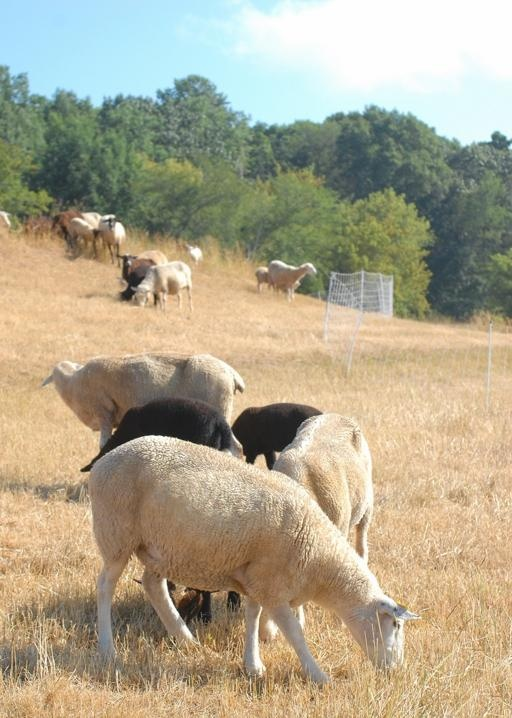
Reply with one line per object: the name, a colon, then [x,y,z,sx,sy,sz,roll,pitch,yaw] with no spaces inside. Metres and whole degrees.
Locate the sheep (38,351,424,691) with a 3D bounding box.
sheep: [-0.170,1.651,12.321,2.538,1.885,0.567,1,9,10]

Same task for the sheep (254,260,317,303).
sheep: [0.643,-1.928,35.613,1.039,0.940,2.032,-5,12,-20]

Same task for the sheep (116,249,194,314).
sheep: [-2.021,-1.412,28.225,0.598,1.547,2.175,-3,6,-29]
